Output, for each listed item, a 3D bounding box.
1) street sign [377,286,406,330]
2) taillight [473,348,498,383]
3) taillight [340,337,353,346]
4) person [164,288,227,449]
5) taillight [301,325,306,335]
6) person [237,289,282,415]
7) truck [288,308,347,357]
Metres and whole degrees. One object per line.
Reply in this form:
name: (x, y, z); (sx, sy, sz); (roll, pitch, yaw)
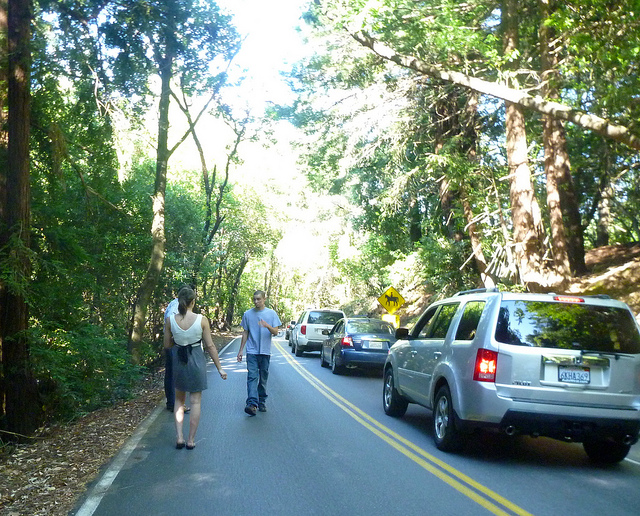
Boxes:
street sign: (3.013, 2.348, 21.594); (1.027, 2.321, 0.094); (3, -3, 11)
taillight: (2.136, 1.328, 6.441); (0.245, 0.525, 0.055); (4, 26, 17)
taillight: (0.802, 2.517, 15.241); (0.421, 0.274, 0.080); (-2, -3, 35)
person: (-1.933, 1.589, 7.520); (0.746, 2.286, 1.116); (1, -3, -19)
taillight: (-0.721, 3.202, 22.286); (0.247, 0.555, 0.323); (3, -4, -29)
person: (-1.194, 1.814, 9.803); (0.782, 2.371, 0.811); (1, -2, -26)
truck: (-0.384, 3.375, 23.438); (1.386, 1.556, 3.392); (2, -4, -6)
